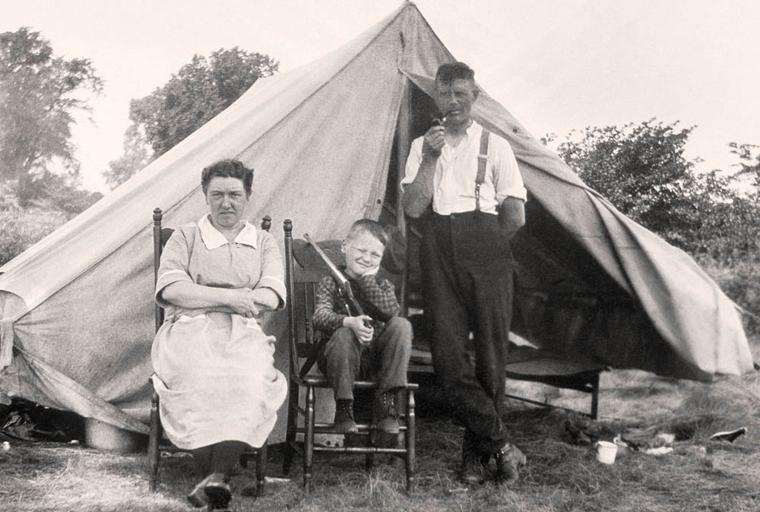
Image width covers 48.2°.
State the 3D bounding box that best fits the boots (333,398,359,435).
[{"bbox_3d":[-0.262,1.169,6.329,0.166,0.242,0.344,3,4,-13],"label":"boots"}]

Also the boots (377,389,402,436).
[{"bbox_3d":[0.065,1.177,6.454,0.180,0.346,0.333,1,-26,0],"label":"boots"}]

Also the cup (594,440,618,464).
[{"bbox_3d":[1.909,1.665,7.230,0.168,0.143,0.177,3,-8,0],"label":"cup"}]

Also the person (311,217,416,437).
[{"bbox_3d":[-0.152,0.548,6.580,0.765,1.635,0.575,4,-26,-4],"label":"person"}]
